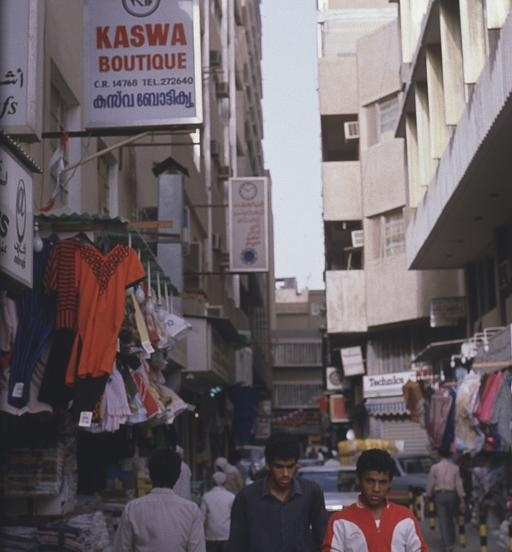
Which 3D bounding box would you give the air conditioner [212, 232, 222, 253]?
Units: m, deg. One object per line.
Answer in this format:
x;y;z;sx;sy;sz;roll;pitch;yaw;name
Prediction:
-0.931;-0.665;32.913;0.218;0.668;0.588;0;-3;3;air conditioner

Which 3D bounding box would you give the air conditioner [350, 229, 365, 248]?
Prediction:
2.449;-0.875;33.086;0.272;0.369;0.407;0;-10;0;air conditioner

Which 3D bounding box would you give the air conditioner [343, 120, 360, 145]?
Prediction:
2.379;-3.529;34.359;0.424;0.581;0.352;0;2;14;air conditioner
